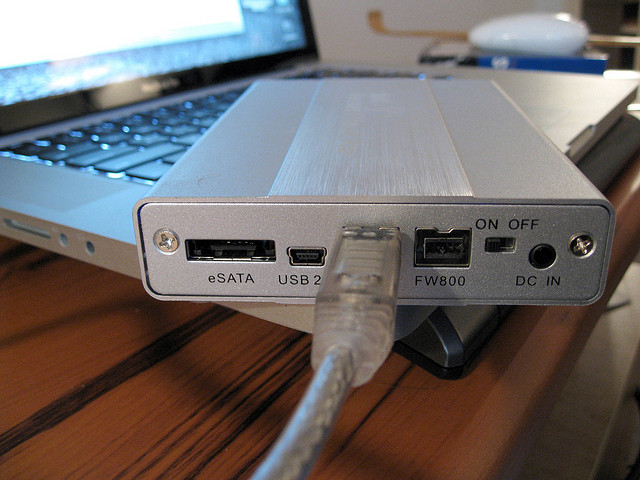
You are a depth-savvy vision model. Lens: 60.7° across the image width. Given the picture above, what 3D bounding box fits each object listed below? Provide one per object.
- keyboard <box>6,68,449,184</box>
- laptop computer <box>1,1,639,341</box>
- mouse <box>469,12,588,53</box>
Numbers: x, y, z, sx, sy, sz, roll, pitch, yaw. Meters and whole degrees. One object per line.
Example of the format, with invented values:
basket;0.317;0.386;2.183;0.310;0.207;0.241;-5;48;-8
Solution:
keyboard;-0.201;-0.122;0.583;0.189;0.016;0.301;2;32;9
laptop computer;-0.021;-0.169;0.545;0.589;0.163;0.490;-28;39;-33
mouse;0.322;-0.329;0.866;0.179;0.065;0.096;8;32;20
